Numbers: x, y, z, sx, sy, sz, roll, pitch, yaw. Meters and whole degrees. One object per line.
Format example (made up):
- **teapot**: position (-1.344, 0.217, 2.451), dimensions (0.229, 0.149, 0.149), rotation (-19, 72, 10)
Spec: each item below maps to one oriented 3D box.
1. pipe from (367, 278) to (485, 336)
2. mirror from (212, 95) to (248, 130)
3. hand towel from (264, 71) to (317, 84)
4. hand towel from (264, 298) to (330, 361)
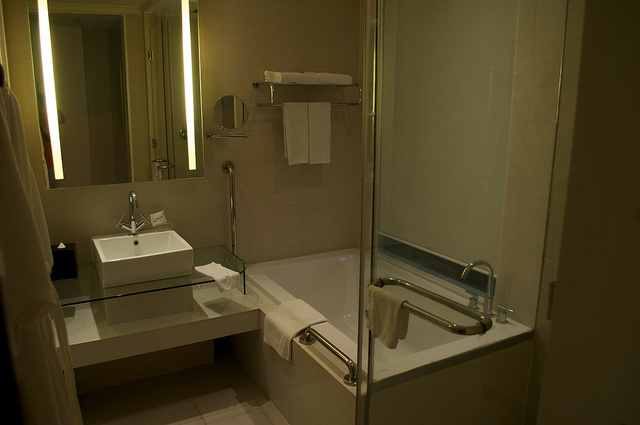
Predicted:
- **pipe**: position (0.367, 0.316, 1.644), dimensions (0.416, 0.058, 0.227), rotation (20, 16, 32)
- **mirror**: position (-0.599, -0.648, 3.096), dimensions (0.243, 0.240, 0.034), rotation (-1, 18, -31)
- **hand towel**: position (-0.190, -0.864, 3.089), dimensions (0.337, 0.096, 0.109), rotation (-16, 22, -34)
- **hand towel**: position (-0.177, 0.603, 2.593), dimensions (0.250, 0.237, 0.393), rotation (-3, 12, -28)
